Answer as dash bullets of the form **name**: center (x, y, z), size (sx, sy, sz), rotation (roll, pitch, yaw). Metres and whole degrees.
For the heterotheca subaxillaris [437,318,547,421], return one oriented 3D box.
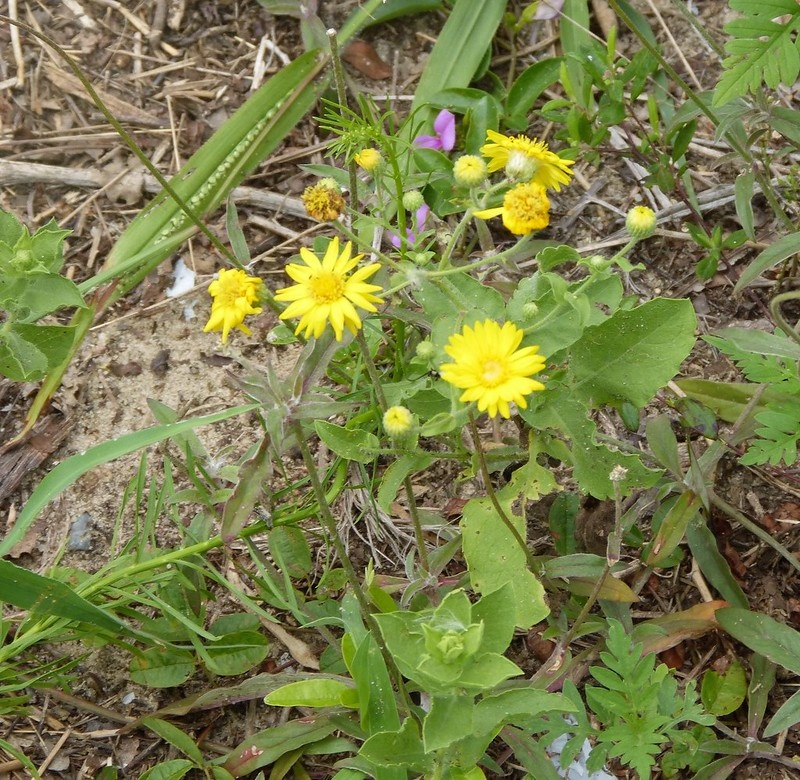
- **heterotheca subaxillaris**: center (0.169, -0.045, 1.452), size (0.185, 0.145, 0.055), rotation (-14, 49, 0)

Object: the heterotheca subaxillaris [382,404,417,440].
- **heterotheca subaxillaris**: center (-0.001, 0.062, 1.530), size (0.069, 0.063, 0.062), rotation (2, 48, 6)

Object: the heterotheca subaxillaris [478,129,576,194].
- **heterotheca subaxillaris**: center (0.274, -0.491, 1.744), size (0.205, 0.168, 0.087), rotation (21, 90, -20)

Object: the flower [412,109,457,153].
- **flower**: center (0.118, -0.815, 2.583), size (0.133, 0.132, 0.179), rotation (6, 51, 3)

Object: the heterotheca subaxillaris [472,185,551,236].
- **heterotheca subaxillaris**: center (0.271, -0.381, 1.695), size (0.099, 0.081, 0.131), rotation (23, 53, 15)

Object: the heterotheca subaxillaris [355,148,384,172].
- **heterotheca subaxillaris**: center (-0.077, -0.544, 1.887), size (0.080, 0.053, 0.045), rotation (0, 11, -6)

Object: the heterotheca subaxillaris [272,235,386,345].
- **heterotheca subaxillaris**: center (-0.129, -0.194, 1.514), size (0.082, 0.232, 0.201), rotation (30, 87, 28)
